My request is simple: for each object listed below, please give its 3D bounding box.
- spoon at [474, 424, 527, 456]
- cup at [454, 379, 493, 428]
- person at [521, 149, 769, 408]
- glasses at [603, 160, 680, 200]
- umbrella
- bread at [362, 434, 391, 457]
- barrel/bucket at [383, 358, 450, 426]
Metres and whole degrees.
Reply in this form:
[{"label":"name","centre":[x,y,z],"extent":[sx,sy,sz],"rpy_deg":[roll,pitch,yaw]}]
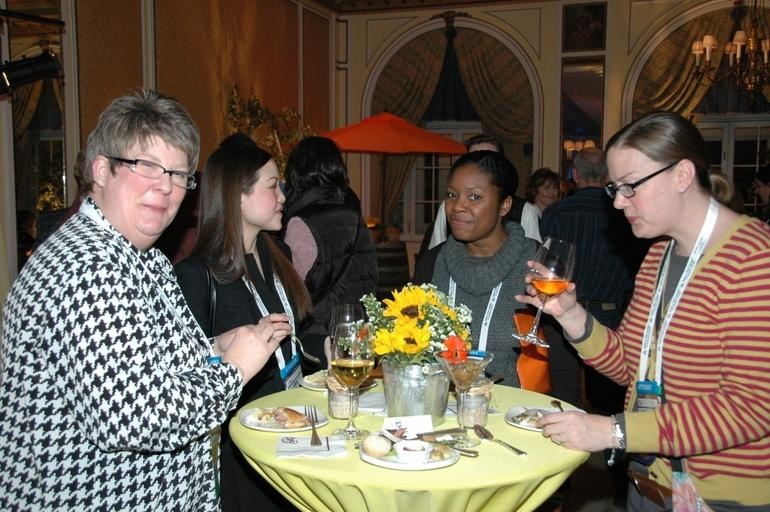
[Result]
[{"label":"spoon","centre":[0.401,0.646,2.036],"extent":[0.054,0.042,0.249],"rpy_deg":[-5,9,-31]},{"label":"cup","centre":[0.338,0.559,2.143],"extent":[0.173,0.165,0.121],"rpy_deg":[1,2,-10]},{"label":"person","centre":[1.144,-0.053,2.801],"extent":[0.939,1.386,0.853],"rpy_deg":[-3,7,20]},{"label":"glasses","centre":[0.957,-0.313,2.162],"extent":[0.156,0.046,0.149],"rpy_deg":[-24,2,1]},{"label":"umbrella","centre":[0.103,-1.096,7.360],"extent":[1.331,0.902,1.329],"rpy_deg":[3,7,-7]},{"label":"bread","centre":[-0.028,0.629,1.880],"extent":[0.081,0.064,0.061],"rpy_deg":[11,-28,2]},{"label":"barrel/bucket","centre":[0.115,0.492,2.146],"extent":[0.257,0.190,0.242],"rpy_deg":[1,-9,0]}]
